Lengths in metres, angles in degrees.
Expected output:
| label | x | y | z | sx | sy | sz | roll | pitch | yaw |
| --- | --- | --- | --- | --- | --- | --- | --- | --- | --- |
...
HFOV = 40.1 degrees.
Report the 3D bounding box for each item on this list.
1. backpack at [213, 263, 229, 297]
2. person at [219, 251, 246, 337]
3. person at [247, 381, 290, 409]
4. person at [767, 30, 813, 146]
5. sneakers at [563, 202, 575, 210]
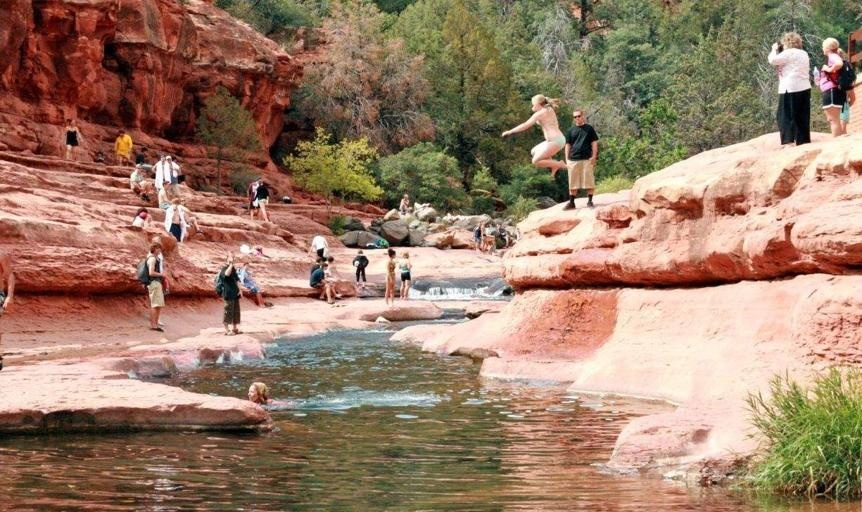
| label | x | y | z | sx | sy | sz | roll | pitch | yaw |
| --- | --- | --- | --- | --- | --- | --- | --- | --- | --- |
| backpack | -6.701 | 0.811 | 37.475 | 0.367 | 1.022 | 0.589 | -2 | 9 | -10 |
| person | -6.500 | 1.151 | 37.405 | 0.828 | 2.479 | 1.312 | -3 | -6 | -5 |
| person | -4.202 | 3.760 | 31.541 | 1.449 | 0.579 | 0.504 | 10 | -5 | -25 |
| person | 9.885 | -4.578 | 32.562 | 1.159 | 3.050 | 1.606 | 2 | 10 | 16 |
| sneakers | 4.170 | -1.501 | 36.174 | 0.348 | 0.151 | 0.189 | 1 | 3 | -1 |
